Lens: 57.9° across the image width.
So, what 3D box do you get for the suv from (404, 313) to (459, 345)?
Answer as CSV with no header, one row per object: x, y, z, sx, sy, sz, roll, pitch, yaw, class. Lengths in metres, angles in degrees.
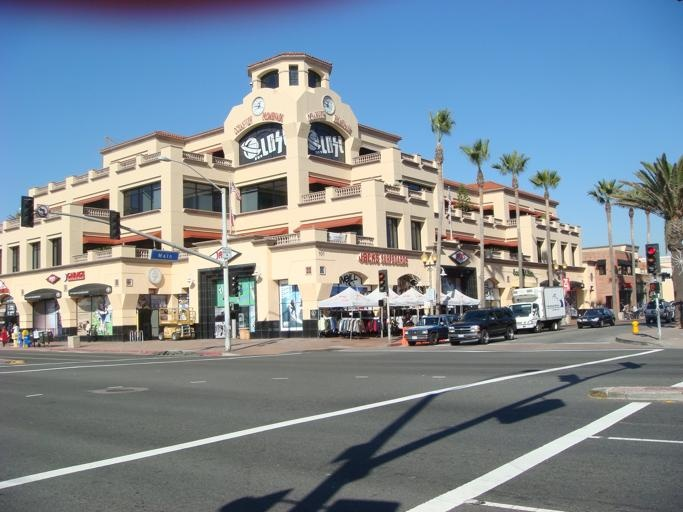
5.720,4.610,39.044,1.583,1.243,2.943,-7,-10,38,suv

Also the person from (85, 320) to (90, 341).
-21.534,6.266,52.490,0.313,1.652,1.086,3,-11,-28,person

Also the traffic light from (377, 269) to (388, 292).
2.569,1.508,38.150,0.431,1.265,1.274,-2,-10,-1,traffic light

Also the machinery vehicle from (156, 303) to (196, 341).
-13.567,5.358,50.174,2.805,2.329,1.876,0,-4,31,machinery vehicle

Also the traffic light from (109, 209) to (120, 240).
-10.819,-1.599,29.485,0.414,1.401,1.220,1,-10,-15,traffic light

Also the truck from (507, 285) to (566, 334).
14.710,4.075,48.991,3.089,3.750,6.497,-4,-6,40,truck

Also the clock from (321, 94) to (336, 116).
-1.319,-13.923,56.969,0.245,1.821,1.810,-24,-43,32,clock

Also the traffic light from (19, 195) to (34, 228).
-13.995,-2.044,27.503,0.502,1.428,0.949,4,-12,-30,traffic light

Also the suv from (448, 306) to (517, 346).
8.310,4.308,37.931,3.220,2.270,5.140,-12,-14,42,suv
